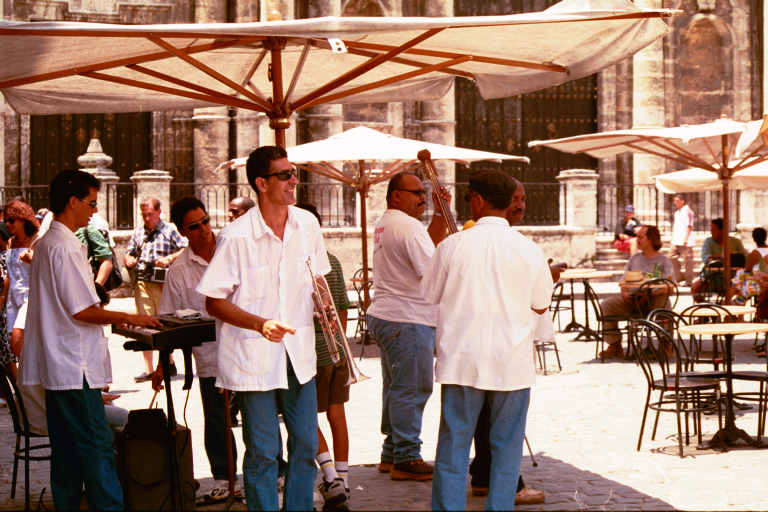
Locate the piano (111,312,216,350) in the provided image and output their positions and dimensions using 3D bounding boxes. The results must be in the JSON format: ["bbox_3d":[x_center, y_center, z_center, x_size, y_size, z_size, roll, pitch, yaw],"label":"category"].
[{"bbox_3d":[-2.399,0.830,17.045,0.607,0.380,0.942,1,1,19],"label":"piano"}]
